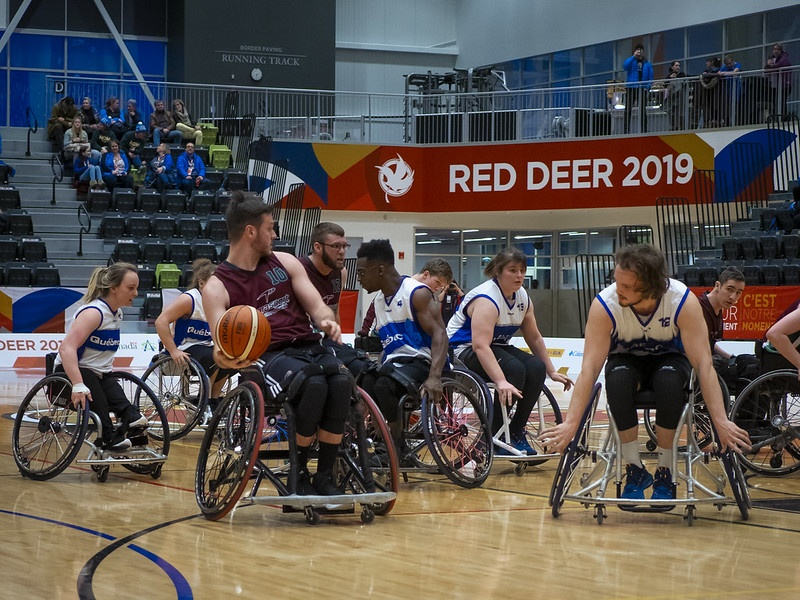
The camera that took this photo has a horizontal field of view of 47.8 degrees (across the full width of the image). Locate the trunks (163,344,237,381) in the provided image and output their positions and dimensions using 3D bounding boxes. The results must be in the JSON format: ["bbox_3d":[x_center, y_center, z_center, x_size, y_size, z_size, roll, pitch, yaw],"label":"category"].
[{"bbox_3d":[-1.822,0.579,8.470,0.447,0.524,0.327,-1,-2,23],"label":"trunks"}]

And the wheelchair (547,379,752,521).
[{"bbox_3d":[1.787,1.074,6.644,0.846,1.547,1.649,0,-13,6],"label":"wheelchair"}]

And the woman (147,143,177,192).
[{"bbox_3d":[-4.980,-2.709,18.783,0.523,1.111,0.609,0,10,-28],"label":"woman"}]

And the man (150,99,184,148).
[{"bbox_3d":[-5.271,-3.826,20.101,0.587,1.294,0.710,-9,7,-43],"label":"man"}]

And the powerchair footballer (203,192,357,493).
[{"bbox_3d":[-0.791,0.295,5.942,0.797,2.120,0.972,-9,0,-32],"label":"powerchair footballer"}]

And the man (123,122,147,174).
[{"bbox_3d":[-5.661,-3.255,19.317,0.606,1.109,0.460,4,-5,19],"label":"man"}]

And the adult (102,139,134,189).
[{"bbox_3d":[-5.770,-2.645,18.418,0.508,1.333,0.656,-3,-2,-26],"label":"adult"}]

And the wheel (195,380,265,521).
[{"bbox_3d":[-1.182,0.965,6.149,0.429,0.987,1.369,-1,7,-13],"label":"wheel"}]

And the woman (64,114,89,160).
[{"bbox_3d":[-6.686,-3.344,18.784,0.585,0.923,0.486,2,-1,40],"label":"woman"}]

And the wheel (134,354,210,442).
[{"bbox_3d":[-2.120,0.934,8.495,0.777,0.852,0.183,24,16,35],"label":"wheel"}]

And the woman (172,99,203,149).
[{"bbox_3d":[-4.863,-3.927,20.618,0.541,1.325,0.642,-19,9,-37],"label":"woman"}]

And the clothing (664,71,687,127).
[{"bbox_3d":[6.206,-4.433,20.548,0.429,1.412,0.111,4,-17,0],"label":"clothing"}]

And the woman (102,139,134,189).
[{"bbox_3d":[-5.763,-2.636,18.417,0.512,1.294,0.638,-2,-2,-28],"label":"woman"}]

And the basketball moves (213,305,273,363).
[{"bbox_3d":[-0.974,0.214,5.596,0.297,0.407,0.313,5,-8,-22],"label":"basketball moves"}]

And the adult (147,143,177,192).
[{"bbox_3d":[-4.995,-2.714,18.775,0.546,1.112,0.603,1,7,-16],"label":"adult"}]

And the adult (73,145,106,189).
[{"bbox_3d":[-6.277,-2.668,18.273,0.628,0.864,0.446,0,1,31],"label":"adult"}]

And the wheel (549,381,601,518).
[{"bbox_3d":[1.256,1.106,6.483,0.109,0.654,0.622,9,36,15],"label":"wheel"}]

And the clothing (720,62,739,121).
[{"bbox_3d":[7.205,-4.517,19.793,0.405,1.577,0.442,1,0,38],"label":"clothing"}]

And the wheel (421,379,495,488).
[{"bbox_3d":[0.443,1.055,7.056,0.164,0.766,0.764,-23,-48,22],"label":"wheel"}]

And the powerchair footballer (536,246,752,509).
[{"bbox_3d":[1.685,0.476,5.845,1.114,1.730,0.990,-12,-20,40],"label":"powerchair footballer"}]

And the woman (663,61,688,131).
[{"bbox_3d":[6.227,-4.625,20.513,0.386,1.538,0.434,-8,8,-36],"label":"woman"}]

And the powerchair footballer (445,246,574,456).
[{"bbox_3d":[0.930,0.456,7.627,0.847,1.777,1.053,-1,8,-20],"label":"powerchair footballer"}]

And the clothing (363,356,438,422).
[{"bbox_3d":[0.066,0.676,7.012,0.356,0.559,0.497,0,-14,44],"label":"clothing"}]

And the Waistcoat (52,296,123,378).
[{"bbox_3d":[-2.411,0.271,7.232,0.309,0.620,0.479,20,9,14],"label":"Waistcoat"}]

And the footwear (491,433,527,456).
[{"bbox_3d":[0.894,1.198,7.447,0.239,0.117,0.146,-2,-1,10],"label":"footwear"}]

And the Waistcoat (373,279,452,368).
[{"bbox_3d":[0.009,0.190,7.115,0.409,0.754,0.549,-7,2,-38],"label":"Waistcoat"}]

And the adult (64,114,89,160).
[{"bbox_3d":[-6.723,-3.356,18.779,0.459,0.955,0.556,3,-3,-34],"label":"adult"}]

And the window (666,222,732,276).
[{"bbox_3d":[6.346,-1.213,19.410,1.199,0.940,1.327,0,2,7],"label":"window"}]

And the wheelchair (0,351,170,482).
[{"bbox_3d":[-2.684,0.899,7.286,1.060,1.038,0.931,2,-13,17],"label":"wheelchair"}]

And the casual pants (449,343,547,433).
[{"bbox_3d":[0.867,0.722,7.487,0.691,1.050,0.556,-1,-1,27],"label":"casual pants"}]

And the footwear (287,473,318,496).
[{"bbox_3d":[-0.643,1.184,5.852,0.196,0.136,0.151,-3,8,-25],"label":"footwear"}]

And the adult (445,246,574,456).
[{"bbox_3d":[0.937,0.439,7.613,0.779,1.750,1.047,-2,9,-27],"label":"adult"}]

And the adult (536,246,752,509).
[{"bbox_3d":[1.595,0.508,5.904,1.153,1.729,0.537,1,6,1],"label":"adult"}]

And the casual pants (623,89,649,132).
[{"bbox_3d":[5.513,-4.401,21.004,0.491,1.089,0.083,-13,-4,-36],"label":"casual pants"}]

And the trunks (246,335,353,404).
[{"bbox_3d":[-0.656,0.493,5.851,0.680,0.345,0.371,-1,7,-11],"label":"trunks"}]

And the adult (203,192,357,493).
[{"bbox_3d":[-0.800,0.296,5.945,0.810,2.088,0.947,-9,0,-38],"label":"adult"}]

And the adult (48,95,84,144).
[{"bbox_3d":[-7.207,-3.700,19.332,0.483,1.274,0.613,2,12,-42],"label":"adult"}]

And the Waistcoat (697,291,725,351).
[{"bbox_3d":[2.730,0.187,7.895,0.163,0.271,0.142,-3,19,7],"label":"Waistcoat"}]

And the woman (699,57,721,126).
[{"bbox_3d":[6.845,-4.629,19.999,0.337,1.431,0.407,-1,10,12],"label":"woman"}]

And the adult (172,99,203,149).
[{"bbox_3d":[-4.877,-3.922,20.614,0.525,1.313,0.618,-18,10,-31],"label":"adult"}]

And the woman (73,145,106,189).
[{"bbox_3d":[-6.269,-2.649,18.269,0.650,0.876,0.453,-2,-2,31],"label":"woman"}]

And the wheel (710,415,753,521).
[{"bbox_3d":[2.200,1.143,5.952,0.090,0.520,0.494,-13,42,2],"label":"wheel"}]

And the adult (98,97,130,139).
[{"bbox_3d":[-6.153,-3.805,19.494,0.557,1.103,0.492,4,5,41],"label":"adult"}]
